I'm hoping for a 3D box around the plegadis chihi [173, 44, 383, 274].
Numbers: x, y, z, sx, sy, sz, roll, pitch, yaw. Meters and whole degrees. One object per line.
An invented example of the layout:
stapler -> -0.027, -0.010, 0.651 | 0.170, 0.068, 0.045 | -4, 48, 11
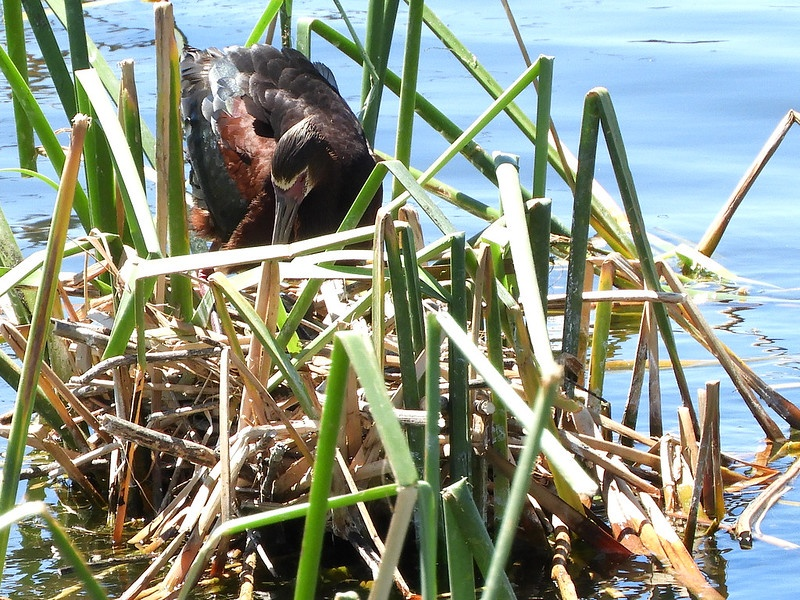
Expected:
plegadis chihi -> -0.699, -0.901, 5.920 | 0.746, 0.969, 1.443 | -10, 62, -27
